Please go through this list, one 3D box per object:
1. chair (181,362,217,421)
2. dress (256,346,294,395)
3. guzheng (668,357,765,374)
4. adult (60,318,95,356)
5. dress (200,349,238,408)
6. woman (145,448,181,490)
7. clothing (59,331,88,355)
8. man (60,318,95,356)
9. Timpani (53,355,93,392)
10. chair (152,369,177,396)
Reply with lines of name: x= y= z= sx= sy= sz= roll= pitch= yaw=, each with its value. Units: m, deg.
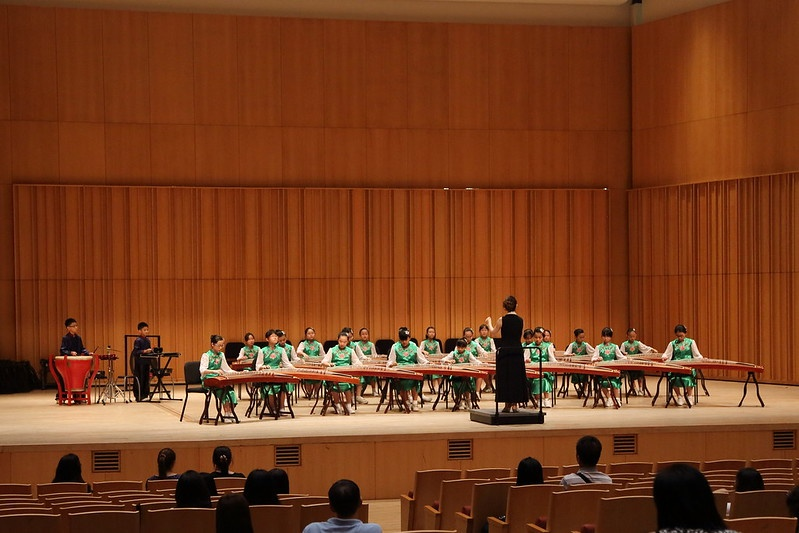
chair: x=-3.980 y=2.399 z=18.522 sx=0.709 sy=1.049 sz=0.729 roll=-2 pitch=0 yaw=-36
dress: x=-2.466 y=2.021 z=18.615 sx=0.720 sy=0.932 sz=0.620 roll=4 pitch=-31 yaw=-24
guzheng: x=6.679 y=2.060 z=19.948 sx=1.547 sy=0.248 sz=0.491 roll=3 pitch=0 yaw=23
adult: x=-7.372 y=1.677 z=21.492 sx=0.549 sy=1.053 sz=0.691 roll=-1 pitch=-2 yaw=31
dress: x=-3.498 y=2.105 z=18.528 sx=0.673 sy=1.369 sz=0.527 roll=8 pitch=14 yaw=26
woman: x=-3.418 y=2.978 z=13.888 sx=0.539 sy=0.596 sz=0.398 roll=-1 pitch=4 yaw=1
clothing: x=-7.555 y=1.758 z=21.877 sx=0.311 sy=0.583 sz=0.457 roll=-20 pitch=-20 yaw=36
man: x=-7.361 y=1.681 z=21.478 sx=0.562 sy=1.046 sz=0.661 roll=0 pitch=-2 yaw=27
Timpani: x=-7.199 y=2.307 z=20.883 sx=0.720 sy=0.924 sz=0.802 roll=2 pitch=-6 yaw=-27
chair: x=-5.488 y=2.619 z=21.808 sx=0.540 sy=0.756 sz=0.528 roll=5 pitch=8 yaw=-6
